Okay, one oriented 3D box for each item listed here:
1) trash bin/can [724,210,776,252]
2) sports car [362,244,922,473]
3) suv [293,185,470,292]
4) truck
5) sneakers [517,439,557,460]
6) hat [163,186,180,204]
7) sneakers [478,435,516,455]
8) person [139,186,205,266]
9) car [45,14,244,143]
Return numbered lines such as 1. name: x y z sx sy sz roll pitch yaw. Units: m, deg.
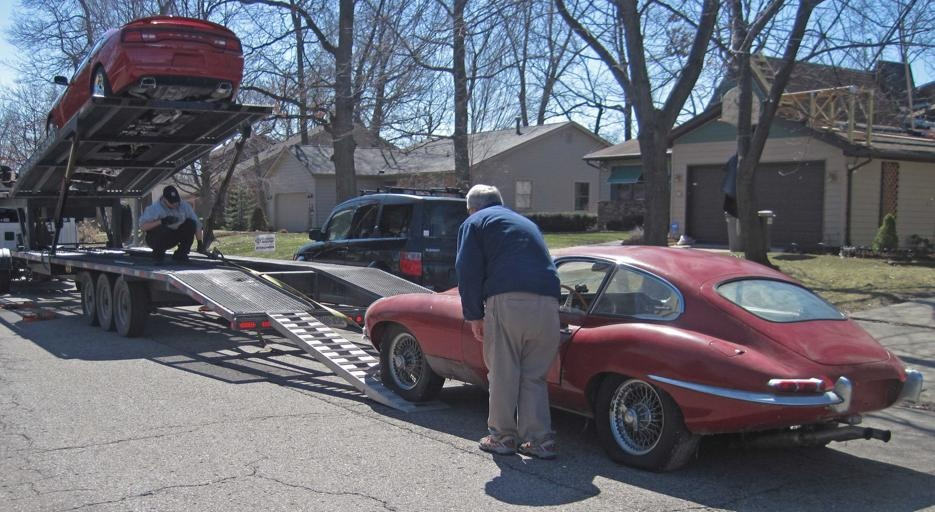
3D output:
1. trash bin/can: 8.345 -0.753 20.721 1.263 1.492 1.556 1 5 29
2. sports car: 1.858 1.157 9.886 6.054 1.834 3.264 10 6 38
3. suv: -1.797 -0.545 15.457 3.450 1.795 2.027 9 7 42
4. truck: -6.378 -0.837 15.955 4.593 4.214 15.136 -3 6 -40
5. sneakers: 0.940 2.566 9.250 0.526 0.239 0.208 6 5 28
6. hat: -6.208 -1.303 14.597 0.419 0.215 0.297 27 30 33
7. sneakers: 0.388 2.529 9.325 0.509 0.214 0.207 9 8 28
8. person: -6.283 -0.637 14.971 1.350 1.494 1.121 3 8 -5
9. car: -6.732 -3.966 14.357 3.801 2.005 1.647 2 1 20
